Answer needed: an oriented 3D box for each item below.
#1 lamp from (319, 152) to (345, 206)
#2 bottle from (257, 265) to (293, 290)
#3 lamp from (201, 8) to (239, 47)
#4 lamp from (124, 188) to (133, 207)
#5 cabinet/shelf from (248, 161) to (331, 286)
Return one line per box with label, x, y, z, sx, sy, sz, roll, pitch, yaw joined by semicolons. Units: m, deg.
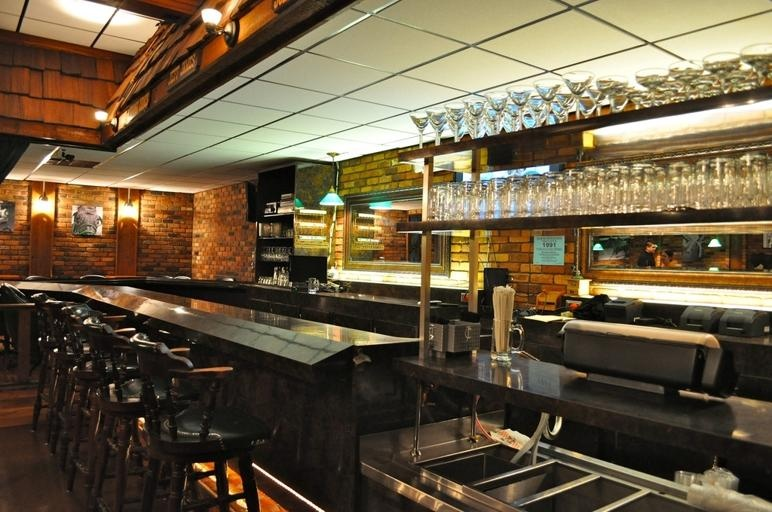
lamp;-0.871;-1.183;8.656;0.375;0.914;1.131;-2;12;-5
bottle;-1.933;0.356;9.176;0.309;0.334;1.037;4;-6;-40
lamp;-1.413;-1.915;4.601;0.257;0.331;0.456;-7;13;-27
lamp;-5.951;-1.356;12.661;0.152;0.386;0.310;-6;13;-23
cabinet/shelf;-1.478;-0.520;9.086;1.255;2.069;1.944;-5;13;-20
